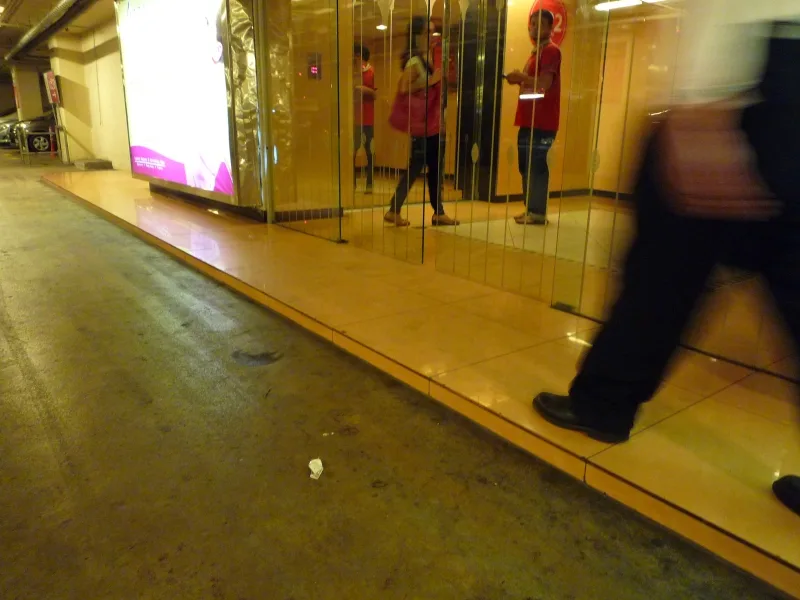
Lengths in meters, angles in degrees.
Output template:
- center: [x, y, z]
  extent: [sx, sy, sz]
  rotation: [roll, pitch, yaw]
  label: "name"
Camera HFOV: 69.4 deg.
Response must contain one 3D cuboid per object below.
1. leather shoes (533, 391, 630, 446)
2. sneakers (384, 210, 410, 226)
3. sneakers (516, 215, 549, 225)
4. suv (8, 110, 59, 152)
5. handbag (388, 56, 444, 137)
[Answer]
- center: [0.783, 0.461, 2.468]
  extent: [0.376, 0.183, 0.149]
  rotation: [20, 26, 33]
  label: "leather shoes"
- center: [-0.032, -0.683, 4.962]
  extent: [0.269, 0.115, 0.095]
  rotation: [18, 27, 26]
  label: "sneakers"
- center: [0.862, -0.531, 3.782]
  extent: [0.174, 0.074, 0.065]
  rotation: [11, 22, 44]
  label: "sneakers"
- center: [-11.331, -5.004, 18.072]
  extent: [1.059, 1.241, 2.324]
  rotation: [-13, 27, -27]
  label: "suv"
- center: [0.146, -1.594, 4.512]
  extent: [0.494, 0.596, 0.360]
  rotation: [12, 54, 24]
  label: "handbag"
